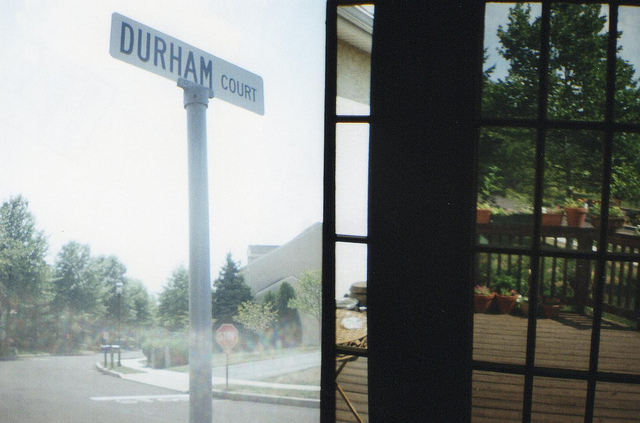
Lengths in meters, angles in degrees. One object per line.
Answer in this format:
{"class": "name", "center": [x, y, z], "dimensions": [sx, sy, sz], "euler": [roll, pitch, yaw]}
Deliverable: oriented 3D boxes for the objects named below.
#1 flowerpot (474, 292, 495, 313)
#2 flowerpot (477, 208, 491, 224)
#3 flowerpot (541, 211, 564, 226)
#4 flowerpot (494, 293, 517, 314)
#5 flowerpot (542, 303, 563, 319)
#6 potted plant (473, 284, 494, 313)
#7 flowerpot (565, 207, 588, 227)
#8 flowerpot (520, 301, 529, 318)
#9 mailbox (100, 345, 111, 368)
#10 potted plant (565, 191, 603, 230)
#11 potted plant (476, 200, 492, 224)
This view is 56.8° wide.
{"class": "flowerpot", "center": [1.391, 0.767, 5.064], "dimensions": [0.153, 0.129, 0.163], "euler": [1, -3, -15]}
{"class": "flowerpot", "center": [1.393, 0.031, 5.050], "dimensions": [0.095, 0.118, 0.118], "euler": [1, 3, -42]}
{"class": "flowerpot", "center": [1.971, 0.057, 5.027], "dimensions": [0.153, 0.067, 0.104], "euler": [5, -5, -33]}
{"class": "flowerpot", "center": [1.579, 0.774, 5.060], "dimensions": [0.160, 0.132, 0.165], "euler": [1, -2, -15]}
{"class": "flowerpot", "center": [1.973, 0.834, 5.035], "dimensions": [0.120, 0.092, 0.126], "euler": [-4, -9, 19]}
{"class": "potted plant", "center": [1.380, 0.736, 5.062], "dimensions": [0.197, 0.212, 0.202], "euler": [-5, -11, 30]}
{"class": "flowerpot", "center": [2.162, 0.040, 5.009], "dimensions": [0.147, 0.135, 0.152], "euler": [6, -13, -15]}
{"class": "flowerpot", "center": [1.741, 0.823, 5.049], "dimensions": [0.092, 0.119, 0.115], "euler": [0, 1, 23]}
{"class": "mailbox", "center": [-3.565, 2.399, 9.815], "dimensions": [0.249, 0.383, 0.194], "euler": [0, 0, -2]}
{"class": "potted plant", "center": [2.202, -0.017, 5.053], "dimensions": [0.228, 0.270, 0.166], "euler": [9, 8, 39]}
{"class": "potted plant", "center": [1.392, 0.001, 5.050], "dimensions": [0.161, 0.186, 0.159], "euler": [5, -8, -45]}
